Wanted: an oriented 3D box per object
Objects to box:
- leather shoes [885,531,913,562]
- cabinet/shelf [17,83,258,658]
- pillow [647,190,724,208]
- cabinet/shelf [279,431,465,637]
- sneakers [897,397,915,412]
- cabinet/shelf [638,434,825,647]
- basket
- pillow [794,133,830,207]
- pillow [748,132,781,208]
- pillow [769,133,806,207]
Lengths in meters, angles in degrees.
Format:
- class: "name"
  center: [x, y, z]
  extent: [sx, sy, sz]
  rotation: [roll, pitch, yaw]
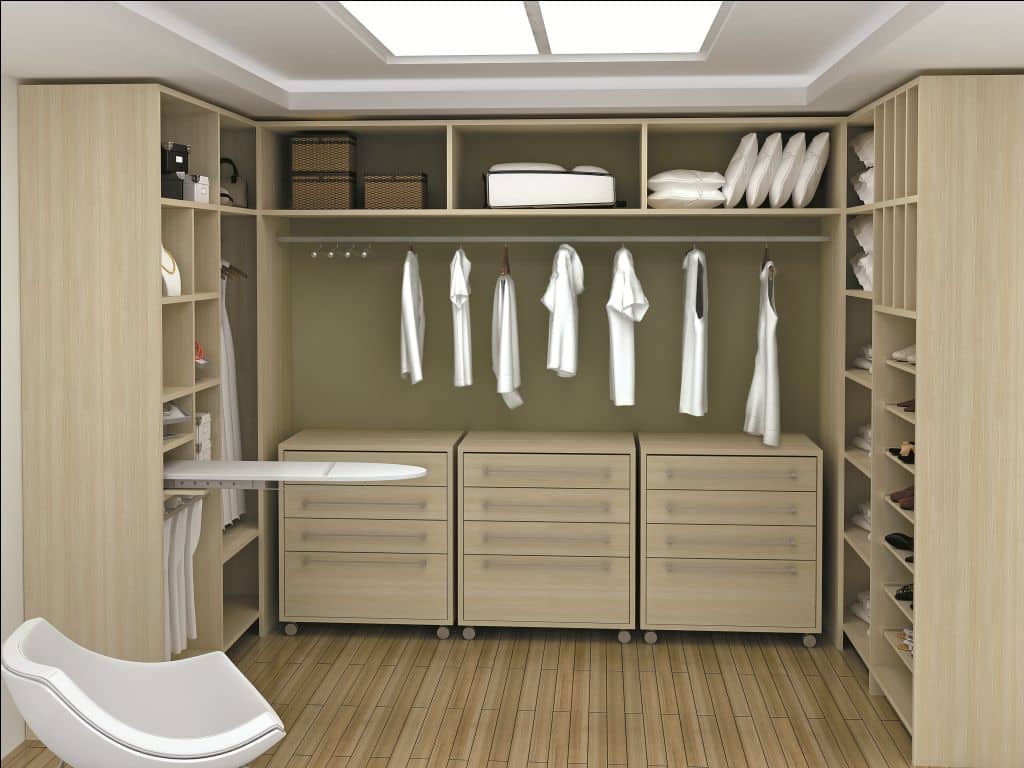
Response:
- class: "leather shoes"
  center: [1.731, 0.743, 3.971]
  extent: [0.060, 0.061, 0.149]
  rotation: [10, 13, -13]
- class: "cabinet/shelf"
  center: [-1.706, 0.055, 4.156]
  extent: [0.693, 2.752, 1.218]
  rotation: [0, 12, 3]
- class: "pillow"
  center: [0.883, -0.945, 4.564]
  extent: [0.389, 0.087, 0.138]
  rotation: [1, 12, 6]
- class: "cabinet/shelf"
  center: [-0.859, 1.034, 4.955]
  extent: [0.942, 0.593, 0.999]
  rotation: [5, 48, -15]
- class: "sneakers"
  center: [1.747, 0.099, 3.929]
  extent: [0.111, 0.073, 0.041]
  rotation: [3, -1, 37]
- class: "cabinet/shelf"
  center: [1.116, 0.865, 4.869]
  extent: [0.964, 0.991, 0.633]
  rotation: [1, -4, -2]
- class: "basket"
  center: [-0.828, -1.140, 4.716]
  extent: [0.510, 0.274, 0.157]
  rotation: [0, -1, 0]
- class: "pillow"
  center: [1.529, -1.092, 4.598]
  extent: [0.138, 0.434, 0.143]
  rotation: [19, 16, 17]
- class: "pillow"
  center: [1.265, -1.081, 4.561]
  extent: [0.126, 0.408, 0.125]
  rotation: [24, 29, 26]
- class: "pillow"
  center: [1.393, -1.088, 4.581]
  extent: [0.133, 0.426, 0.117]
  rotation: [17, 20, 11]
